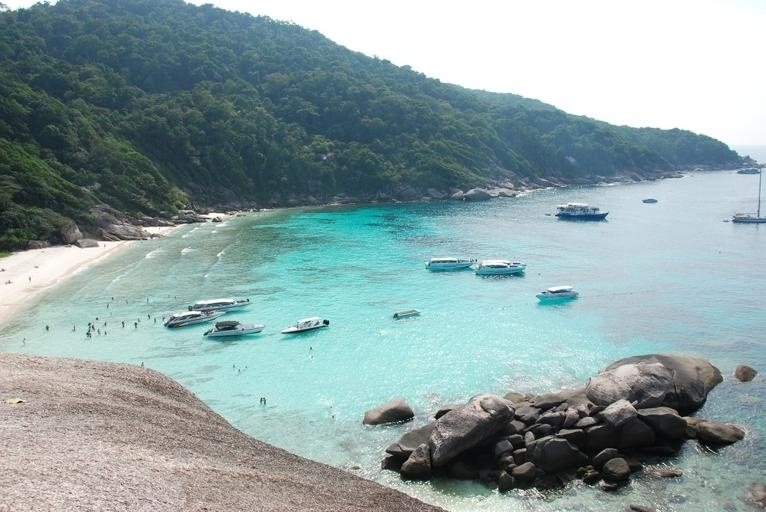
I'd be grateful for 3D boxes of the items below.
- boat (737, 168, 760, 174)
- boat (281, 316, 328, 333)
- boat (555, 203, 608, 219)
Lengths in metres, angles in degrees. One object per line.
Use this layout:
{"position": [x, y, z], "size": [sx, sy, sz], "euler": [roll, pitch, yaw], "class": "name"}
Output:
{"position": [195.391, -45.161, 280.901], "size": [9.981, 1.758, 7.703], "euler": [-1, 11, 8], "class": "boat"}
{"position": [-10.119, 9.231, 69.739], "size": [6.377, 0.940, 2.058], "euler": [-7, 8, -22], "class": "boat"}
{"position": [54.102, -11.966, 142.927], "size": [11.380, 2.480, 6.519], "euler": [2, 6, 21], "class": "boat"}
